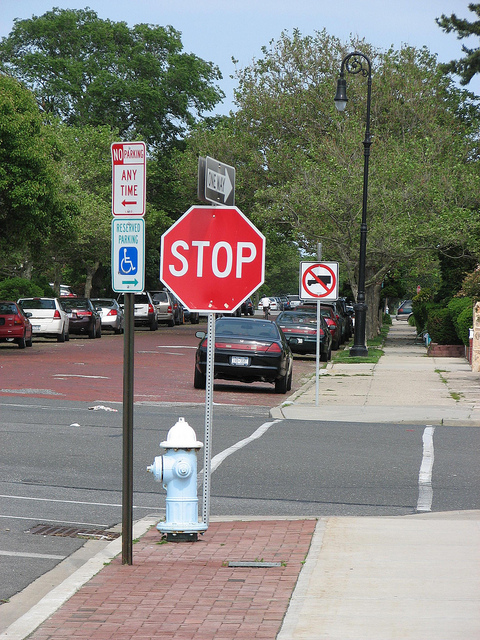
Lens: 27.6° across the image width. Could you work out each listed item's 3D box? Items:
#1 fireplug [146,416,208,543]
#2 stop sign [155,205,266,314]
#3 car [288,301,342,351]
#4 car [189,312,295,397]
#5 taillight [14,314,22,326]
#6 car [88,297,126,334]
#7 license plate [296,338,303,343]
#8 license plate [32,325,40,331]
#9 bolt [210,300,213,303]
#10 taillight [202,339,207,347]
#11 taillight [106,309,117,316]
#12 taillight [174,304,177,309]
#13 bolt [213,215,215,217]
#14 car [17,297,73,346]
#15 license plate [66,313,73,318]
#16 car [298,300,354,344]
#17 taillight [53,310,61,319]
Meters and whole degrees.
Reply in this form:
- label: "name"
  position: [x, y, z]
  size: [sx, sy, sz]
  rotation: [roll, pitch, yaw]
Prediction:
- label: "fireplug"
  position: [-0.404, 1.058, 6.369]
  size: [0.374, 0.858, 0.371]
  rotation: [0, 4, -3]
- label: "stop sign"
  position: [-0.202, -0.402, 6.761]
  size: [0.684, 0.752, 0.602]
  rotation: [0, 3, -15]
- label: "car"
  position: [3.025, 0.155, 35.721]
  size: [1.253, 0.990, 2.841]
  rotation: [1, 5, 10]
- label: "car"
  position: [0.128, 0.670, 17.660]
  size: [1.203, 0.850, 2.419]
  rotation: [2, 2, 5]
- label: "taillight"
  position: [-6.647, 0.019, 29.280]
  size: [0.194, 0.305, 0.143]
  rotation: [0, 19, 10]
- label: "car"
  position: [-5.093, -0.121, 37.083]
  size: [1.387, 1.054, 3.114]
  rotation: [1, 4, 3]
- label: "license plate"
  position: [1.739, 0.613, 28.502]
  size: [0.165, 0.144, 0.038]
  rotation: [-1, 0, 8]
- label: "license plate"
  position: [-6.926, 0.276, 33.197]
  size: [0.229, 0.152, 0.104]
  rotation: [0, 3, -13]
- label: "bolt"
  position: [-0.196, -0.120, 6.708]
  size: [0.020, 0.019, 0.005]
  rotation: [-9, 8, -8]
- label: "taillight"
  position: [-0.640, 0.444, 17.886]
  size: [0.075, 0.122, 0.035]
  rotation: [3, -2, 17]
- label: "taillight"
  position: [-5.353, -0.272, 40.912]
  size: [0.429, 0.256, 0.125]
  rotation: [-1, 4, -25]
- label: "taillight"
  position: [-3.520, -0.688, 53.463]
  size: [0.083, 0.173, 0.137]
  rotation: [31, -17, -38]
- label: "bolt"
  position: [-0.179, -0.704, 6.731]
  size: [0.016, 0.015, 0.004]
  rotation: [-2, 6, -6]
- label: "car"
  position: [-6.590, -0.037, 34.416]
  size: [1.204, 0.889, 2.540]
  rotation: [0, 4, 2]
- label: "license plate"
  position: [-6.340, -0.165, 36.531]
  size: [0.185, 0.093, 0.167]
  rotation: [-3, -4, -14]
- label: "car"
  position: [4.044, 0.015, 42.496]
  size: [1.661, 1.054, 2.994]
  rotation: [0, 6, 12]
- label: "taillight"
  position: [-6.247, -0.150, 33.372]
  size: [0.100, 0.316, 0.296]
  rotation: [3, 4, 37]
